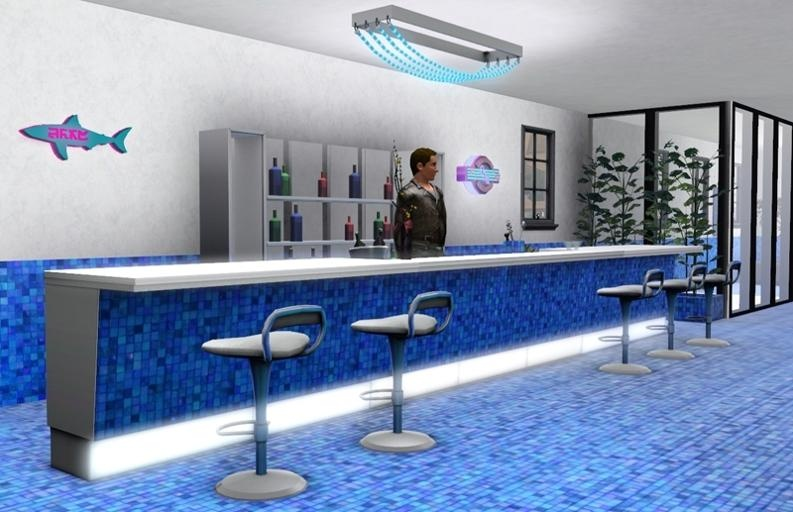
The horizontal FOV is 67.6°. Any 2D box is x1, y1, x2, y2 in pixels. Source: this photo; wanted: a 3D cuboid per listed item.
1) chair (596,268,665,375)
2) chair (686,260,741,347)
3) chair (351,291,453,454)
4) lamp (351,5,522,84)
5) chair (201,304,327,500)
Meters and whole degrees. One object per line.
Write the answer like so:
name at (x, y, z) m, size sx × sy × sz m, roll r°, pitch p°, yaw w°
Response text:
chair at (2.663, 0.733, 6.768) m, size 0.565 × 1.167 × 0.915 m, roll 6°, pitch 10°, yaw 33°
chair at (4.299, 0.657, 8.168) m, size 0.640 × 0.994 × 0.638 m, roll 4°, pitch -5°, yaw 37°
chair at (0.056, 0.919, 4.841) m, size 0.742 × 1.219 × 0.733 m, roll 0°, pitch -1°, yaw 17°
lamp at (0.408, -2.099, 6.002) m, size 1.815 × 0.511 × 0.720 m, roll -7°, pitch 10°, yaw -41°
chair at (-0.920, 0.970, 4.246) m, size 0.838 × 1.320 × 0.650 m, roll -1°, pitch 8°, yaw -7°
